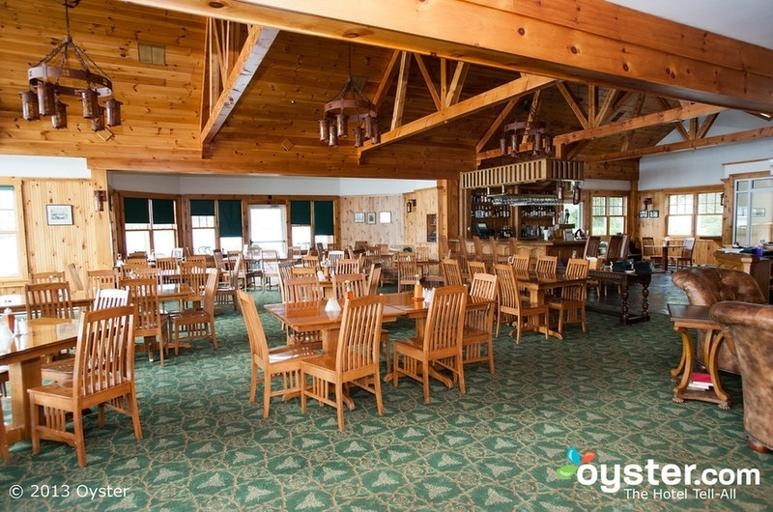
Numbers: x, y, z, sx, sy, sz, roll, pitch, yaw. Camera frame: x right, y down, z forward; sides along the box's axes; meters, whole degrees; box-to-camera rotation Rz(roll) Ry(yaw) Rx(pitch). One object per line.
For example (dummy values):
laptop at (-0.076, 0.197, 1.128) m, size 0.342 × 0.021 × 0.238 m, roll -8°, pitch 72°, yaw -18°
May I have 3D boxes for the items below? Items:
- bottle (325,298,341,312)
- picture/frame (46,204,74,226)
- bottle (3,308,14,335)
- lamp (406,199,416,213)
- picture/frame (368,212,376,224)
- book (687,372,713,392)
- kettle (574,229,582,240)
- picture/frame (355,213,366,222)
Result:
bottle at (-0.638, 0.616, 6.210) m, size 0.233 × 0.155 × 0.185 m, roll 3°, pitch 1°, yaw -2°
picture/frame at (-6.971, -0.875, 10.519) m, size 0.690 × 0.519 × 0.054 m, roll -2°, pitch 4°, yaw -31°
bottle at (-4.159, 0.724, 5.462) m, size 0.067 × 0.256 × 0.469 m, roll 6°, pitch -5°, yaw -41°
lamp at (0.770, -1.554, 15.349) m, size 0.200 × 0.402 × 0.575 m, roll -5°, pitch 8°, yaw -40°
picture/frame at (-0.474, -1.243, 16.213) m, size 0.291 × 0.362 × 0.094 m, roll 3°, pitch -3°, yaw 16°
book at (3.711, 1.487, 5.856) m, size 0.245 × 0.044 × 0.255 m, roll 7°, pitch 20°, yaw 43°
kettle at (5.548, -0.616, 14.321) m, size 0.160 × 0.279 × 0.280 m, roll 15°, pitch -14°, yaw -41°
picture/frame at (-0.821, -1.300, 16.462) m, size 0.574 × 0.346 × 0.324 m, roll 1°, pitch 9°, yaw 0°
